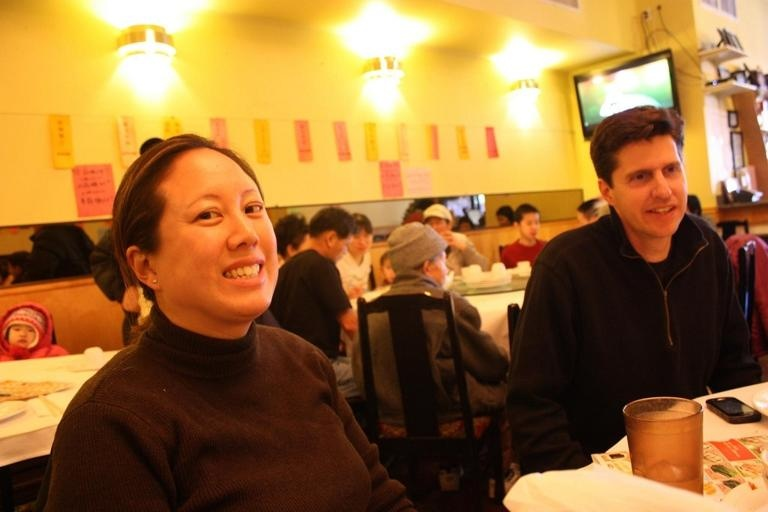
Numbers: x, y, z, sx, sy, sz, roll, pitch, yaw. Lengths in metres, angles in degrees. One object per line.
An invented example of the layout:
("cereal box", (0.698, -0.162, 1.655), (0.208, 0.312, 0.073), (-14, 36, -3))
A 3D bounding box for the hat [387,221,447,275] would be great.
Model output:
("hat", (0.170, -0.064, 2.770), (0.290, 0.226, 0.226), (-17, 6, -4))

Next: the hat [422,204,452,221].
("hat", (0.486, -0.408, 5.120), (0.201, 0.105, 0.301), (-4, -9, 12))

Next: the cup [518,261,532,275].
("cup", (1.087, 0.099, 4.169), (0.085, 0.081, 0.085), (-3, 7, 0))

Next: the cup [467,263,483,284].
("cup", (0.628, 0.132, 3.807), (0.119, 0.164, 0.114), (1, 2, 0))

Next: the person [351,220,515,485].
("person", (0.250, 0.514, 2.920), (0.884, 1.310, 0.814), (2, 5, 8))

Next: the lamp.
("lamp", (-1.872, -1.488, 4.354), (0.542, 0.558, 0.570), (-2, 4, 0))

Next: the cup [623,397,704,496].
("cup", (0.616, 0.417, 1.179), (0.158, 0.135, 0.094), (-4, 1, 6))

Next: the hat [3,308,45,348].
("hat", (-2.354, 0.474, 3.491), (0.211, 0.262, 0.274), (10, -13, -25))
